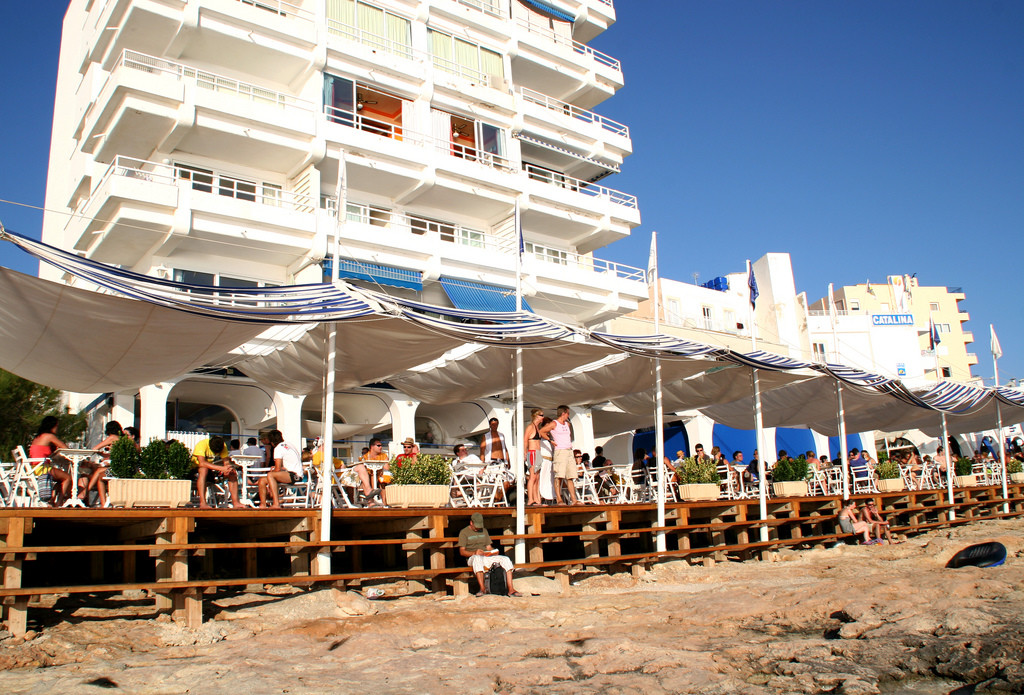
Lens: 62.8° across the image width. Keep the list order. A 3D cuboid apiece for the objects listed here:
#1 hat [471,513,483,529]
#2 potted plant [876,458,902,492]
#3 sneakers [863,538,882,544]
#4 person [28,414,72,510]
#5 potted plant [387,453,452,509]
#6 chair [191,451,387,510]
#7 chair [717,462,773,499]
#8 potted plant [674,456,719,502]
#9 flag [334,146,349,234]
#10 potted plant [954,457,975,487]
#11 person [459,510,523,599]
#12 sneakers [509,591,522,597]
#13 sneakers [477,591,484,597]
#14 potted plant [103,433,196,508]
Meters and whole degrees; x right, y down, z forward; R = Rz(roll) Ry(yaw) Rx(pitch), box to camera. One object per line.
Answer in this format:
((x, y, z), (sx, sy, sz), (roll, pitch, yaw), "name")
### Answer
((-0.621, 2.998, 14.526), (0.214, 0.253, 0.085), (-6, -38, -33), "hat")
((10.494, 3.574, 23.403), (0.657, 0.699, 0.462), (9, -28, -17), "potted plant")
((8.521, 4.556, 19.839), (0.556, 0.173, 0.150), (-2, -3, -4), "sneakers")
((-7.576, 1.874, 13.652), (0.659, 1.409, 0.828), (-4, -8, 32), "person")
((-1.720, 2.445, 15.265), (1.437, 1.075, 0.921), (5, -14, -27), "potted plant")
((-4.014, 2.381, 15.331), (2.102, 1.057, 3.852), (-13, -17, 39), "chair")
((5.847, 3.469, 21.303), (1.330, 0.547, 1.213), (-4, -7, 16), "chair")
((4.175, 3.016, 19.233), (1.179, 1.029, 0.914), (6, -16, -26), "potted plant")
((-3.370, -2.940, 16.294), (0.157, 1.703, 0.461), (-17, 33, -34), "flag")
((14.640, 4.032, 27.159), (0.727, 0.911, 0.630), (4, -18, -9), "potted plant")
((-0.421, 3.533, 14.420), (0.623, 1.349, 0.914), (12, -20, -41), "person")
((0.052, 4.102, 14.071), (0.220, 0.083, 0.375), (-1, -13, -1), "sneakers")
((-0.545, 4.127, 14.133), (0.101, 0.094, 0.261), (2, -16, -14), "sneakers")
((-5.625, 1.926, 13.474), (1.311, 1.027, 0.819), (7, -19, -36), "potted plant")
